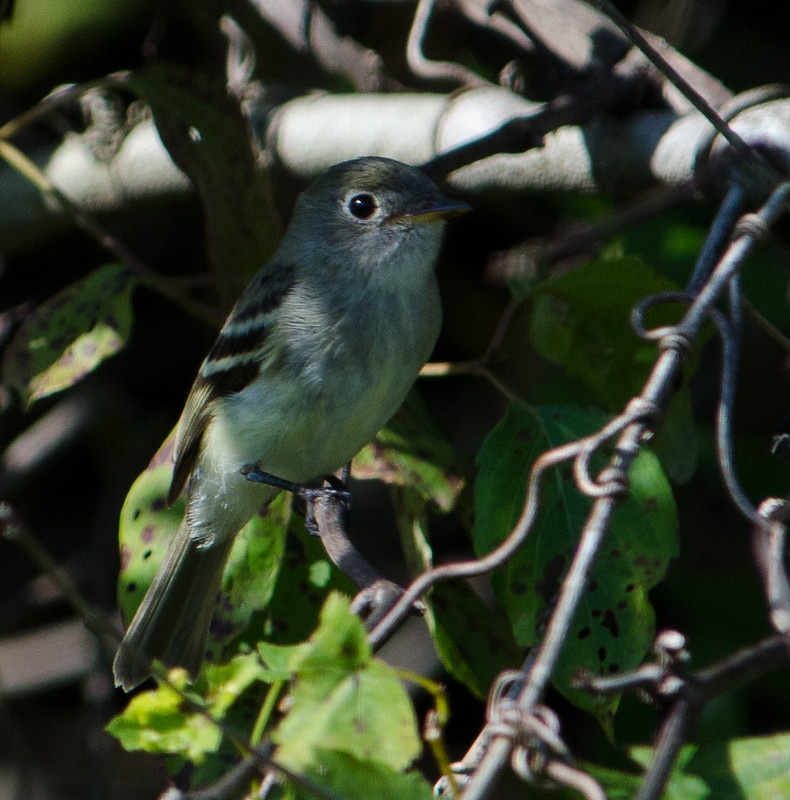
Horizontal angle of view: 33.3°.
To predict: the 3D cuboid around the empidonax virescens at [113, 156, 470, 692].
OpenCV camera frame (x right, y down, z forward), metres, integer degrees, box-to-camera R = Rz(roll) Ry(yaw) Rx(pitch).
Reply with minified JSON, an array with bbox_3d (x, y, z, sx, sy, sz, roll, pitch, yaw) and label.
[{"bbox_3d":[-0.152,0.020,2.263,0.599,0.861,0.354,-3,-12,3],"label":"empidonax virescens"}]
